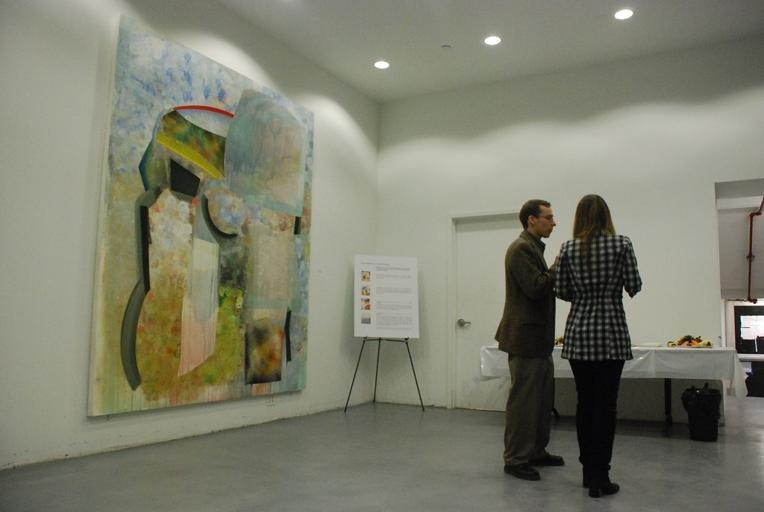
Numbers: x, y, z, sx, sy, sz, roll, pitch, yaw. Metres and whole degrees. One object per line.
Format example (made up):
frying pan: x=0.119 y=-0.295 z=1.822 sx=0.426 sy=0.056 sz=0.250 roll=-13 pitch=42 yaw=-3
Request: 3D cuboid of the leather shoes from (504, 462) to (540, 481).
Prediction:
leather shoes: x=1.227 y=1.904 z=5.190 sx=0.116 sy=0.109 sz=0.259 roll=9 pitch=-14 yaw=-43

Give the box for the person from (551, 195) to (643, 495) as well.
person: x=1.756 y=0.732 z=4.830 sx=0.656 sy=2.470 sz=0.333 roll=0 pitch=-2 yaw=17

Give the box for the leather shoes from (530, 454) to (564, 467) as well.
leather shoes: x=1.536 y=1.893 z=5.503 sx=0.301 sy=0.128 sz=0.127 roll=2 pitch=-10 yaw=3

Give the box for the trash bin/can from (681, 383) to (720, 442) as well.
trash bin/can: x=3.427 y=1.767 z=6.584 sx=0.462 sy=0.627 sz=0.494 roll=-3 pitch=-13 yaw=28
